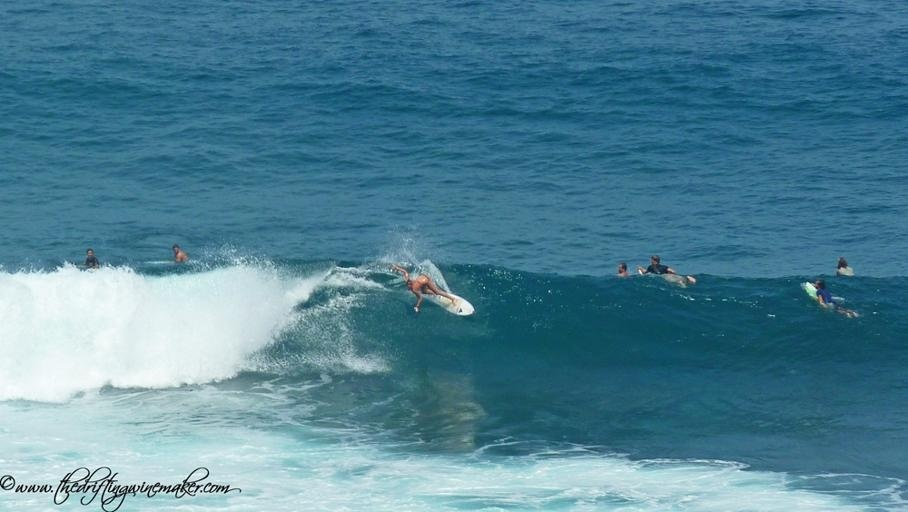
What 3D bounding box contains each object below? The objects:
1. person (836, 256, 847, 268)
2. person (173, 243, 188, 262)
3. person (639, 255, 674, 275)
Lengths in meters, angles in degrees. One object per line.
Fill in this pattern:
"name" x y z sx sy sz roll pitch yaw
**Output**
"person" 19.420 0.308 66.958 0.537 0.601 0.577 5 -15 13
"person" -13.695 -0.157 67.889 0.764 0.849 1.967 1 4 -11
"person" 10.070 0.446 67.118 1.333 0.482 1.356 0 6 -5
